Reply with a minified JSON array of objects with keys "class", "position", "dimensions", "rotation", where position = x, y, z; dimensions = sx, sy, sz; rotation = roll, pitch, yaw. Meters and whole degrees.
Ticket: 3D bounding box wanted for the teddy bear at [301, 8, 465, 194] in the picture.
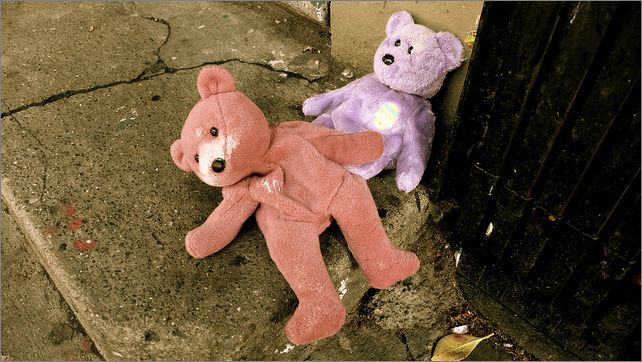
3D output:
[{"class":"teddy bear","position":[0.322,-0.551,3.857],"dimensions":[0.918,0.919,0.796],"rotation":[20,37,14]}]
